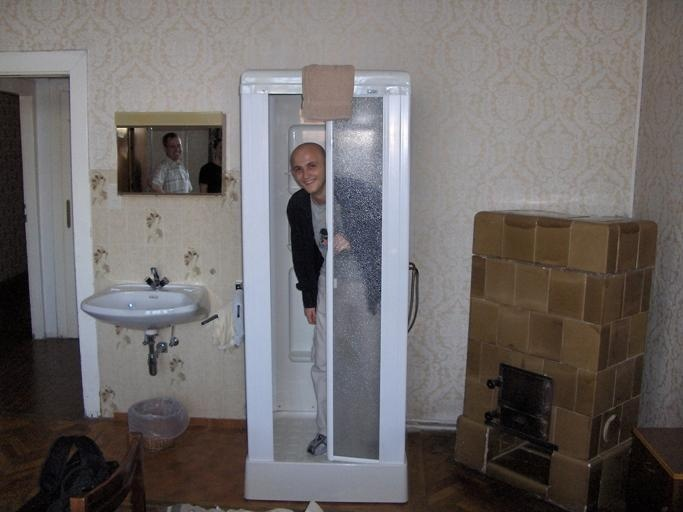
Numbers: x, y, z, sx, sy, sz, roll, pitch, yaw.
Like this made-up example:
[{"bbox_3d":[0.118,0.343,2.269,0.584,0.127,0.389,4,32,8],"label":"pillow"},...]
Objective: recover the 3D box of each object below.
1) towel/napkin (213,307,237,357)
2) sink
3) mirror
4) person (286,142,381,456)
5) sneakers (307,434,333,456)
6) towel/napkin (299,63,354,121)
[{"bbox_3d":[-0.776,0.496,3.967,0.190,0.293,0.075,1,1,5],"label":"towel/napkin"},{"bbox_3d":[-1.232,0.332,3.801,0.738,0.265,0.432,-1,5,1],"label":"sink"},{"bbox_3d":[-1.077,-0.674,3.894,0.508,0.375,0.040,1,6,-1],"label":"mirror"},{"bbox_3d":[-0.047,0.248,3.404,0.278,1.760,0.525,-7,8,-43],"label":"person"},{"bbox_3d":[-0.134,1.093,3.474,0.094,0.048,0.120,-15,32,31],"label":"sneakers"},{"bbox_3d":[-0.069,-0.862,3.242,0.291,0.279,0.072,2,5,0],"label":"towel/napkin"}]
